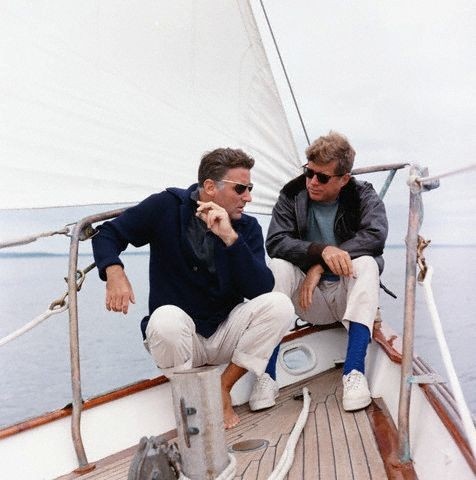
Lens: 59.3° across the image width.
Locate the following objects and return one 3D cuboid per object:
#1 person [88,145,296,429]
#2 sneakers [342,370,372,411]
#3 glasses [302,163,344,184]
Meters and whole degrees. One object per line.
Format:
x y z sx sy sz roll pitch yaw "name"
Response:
-0.253 0.223 2.146 0.976 1.333 0.875 1 -6 -4 "person"
0.547 0.694 1.928 0.083 0.099 0.220 -2 10 6 "sneakers"
0.512 -0.387 2.488 0.209 0.092 0.098 -11 -7 16 "glasses"
